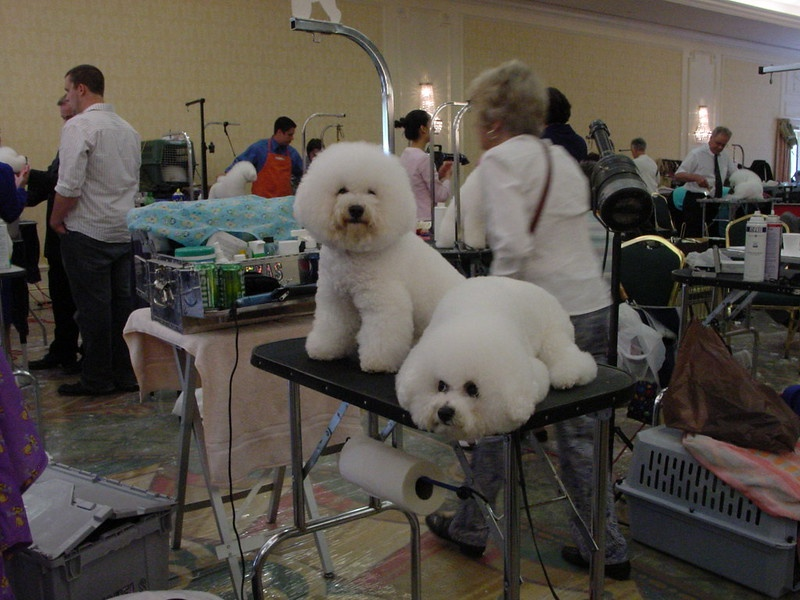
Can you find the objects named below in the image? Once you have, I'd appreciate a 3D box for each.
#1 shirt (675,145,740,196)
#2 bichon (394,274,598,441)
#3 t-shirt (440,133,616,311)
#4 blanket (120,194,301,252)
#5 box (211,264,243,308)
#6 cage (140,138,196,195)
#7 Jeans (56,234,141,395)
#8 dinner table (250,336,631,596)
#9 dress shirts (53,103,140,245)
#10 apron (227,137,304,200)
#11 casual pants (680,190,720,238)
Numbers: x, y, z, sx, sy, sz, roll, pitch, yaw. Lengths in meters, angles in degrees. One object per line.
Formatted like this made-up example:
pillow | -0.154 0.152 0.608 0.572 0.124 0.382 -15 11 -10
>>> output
shirt | 4.203 -1.734 9.525 0.850 0.685 0.397 2 8 -5
bichon | 0.269 0.137 2.054 0.539 0.343 0.647 5 31 26
t-shirt | 0.510 -0.293 2.832 0.559 0.724 0.597 -11 10 -16
blanket | -0.792 -0.343 3.006 0.539 0.169 0.378 -2 5 -36
box | -0.670 -0.063 2.772 0.135 0.184 0.139 2 11 17
cage | -2.190 -1.268 6.655 0.417 0.630 0.594 -6 12 -40
Jeans | -2.038 0.035 4.857 0.362 1.369 0.428 -29 -30 31
dinner table | 0.121 0.613 2.489 0.537 0.710 0.955 -3 6 -41
dress shirts | -2.006 -0.865 4.720 0.363 0.895 0.616 12 15 15
apron | -1.380 -1.384 7.599 0.900 0.719 0.282 -1 17 -29
casual pants | 3.762 -1.084 9.034 0.593 0.597 0.611 0 0 28
